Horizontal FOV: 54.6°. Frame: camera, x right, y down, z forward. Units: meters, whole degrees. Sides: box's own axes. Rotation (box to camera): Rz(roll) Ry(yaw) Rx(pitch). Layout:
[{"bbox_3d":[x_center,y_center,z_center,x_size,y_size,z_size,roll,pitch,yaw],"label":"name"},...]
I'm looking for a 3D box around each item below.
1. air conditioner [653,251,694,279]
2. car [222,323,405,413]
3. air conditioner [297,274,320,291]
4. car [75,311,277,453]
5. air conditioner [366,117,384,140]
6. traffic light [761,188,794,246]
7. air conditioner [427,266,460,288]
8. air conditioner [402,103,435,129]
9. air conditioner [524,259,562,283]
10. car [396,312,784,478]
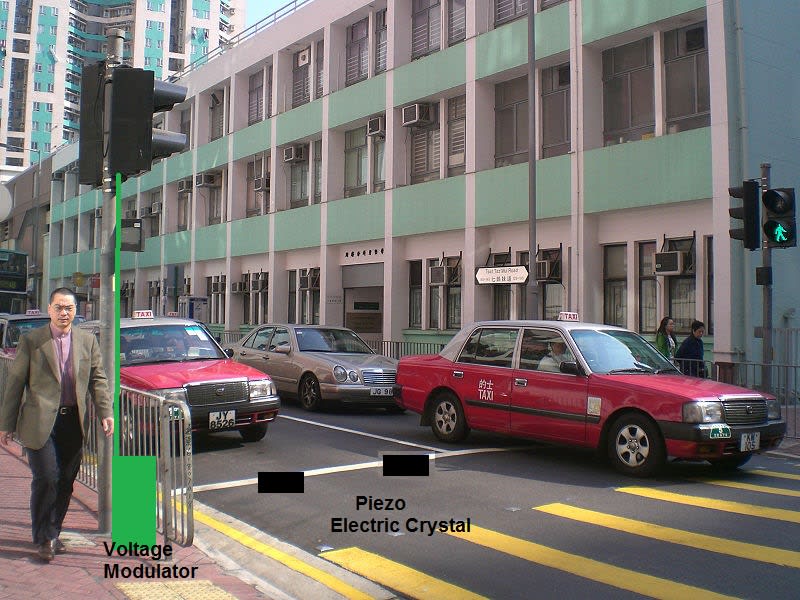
[{"bbox_3d":[6.690,-0.873,18.916,0.564,0.577,0.878,2,0,-20],"label":"air conditioner"},{"bbox_3d":[-1.586,1.365,16.153,1.689,1.729,4.322,1,-1,-37],"label":"car"},{"bbox_3d":[-3.725,-0.714,31.687,0.480,0.589,1.148,-2,4,-43],"label":"air conditioner"},{"bbox_3d":[-3.328,1.394,12.267,2.352,2.289,3.402,-1,2,-36],"label":"car"},{"bbox_3d":[-0.882,-6.151,27.777,0.385,0.775,0.705,7,-10,-34],"label":"air conditioner"},{"bbox_3d":[6.157,-1.340,12.579,0.489,0.930,0.414,2,3,25],"label":"traffic light"},{"bbox_3d":[1.397,-0.782,25.098,0.952,0.600,0.659,0,0,33],"label":"air conditioner"},{"bbox_3d":[0.565,-5.911,26.025,0.651,0.954,1.234,5,-8,-31],"label":"air conditioner"},{"bbox_3d":[4.000,-0.803,21.642,1.022,1.086,0.516,0,-1,-4],"label":"air conditioner"},{"bbox_3d":[2.428,1.341,11.565,2.230,1.783,5.128,5,-6,-40],"label":"car"}]
